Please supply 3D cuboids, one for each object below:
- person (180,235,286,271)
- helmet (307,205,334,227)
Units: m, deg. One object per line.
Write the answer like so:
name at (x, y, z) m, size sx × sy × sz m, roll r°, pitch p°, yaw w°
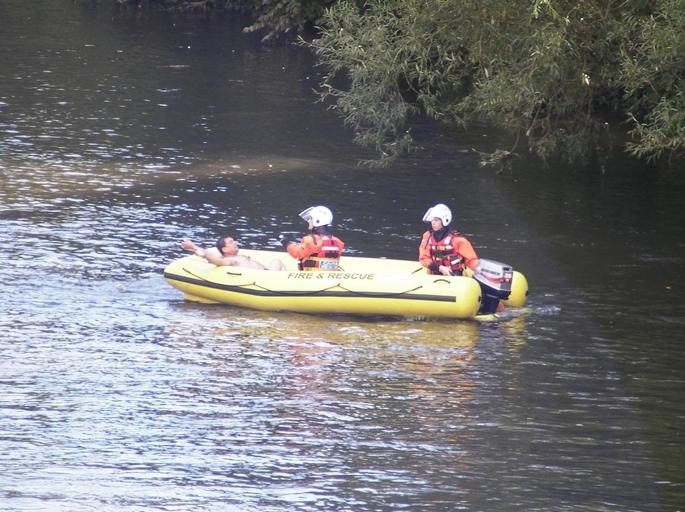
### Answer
person at (-1.974, -0.119, 21.939) m, size 0.808 × 0.330 × 1.239 m, roll -17°, pitch 14°, yaw 5°
helmet at (-0.341, -0.609, 21.608) m, size 0.362 × 0.338 × 0.247 m, roll 2°, pitch 25°, yaw -11°
